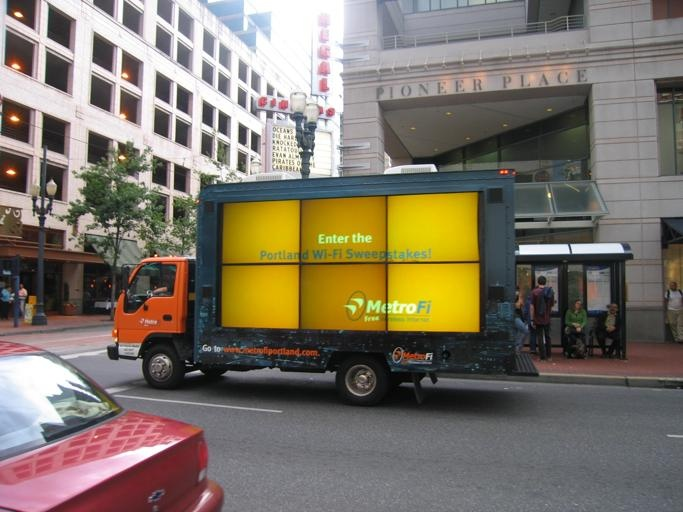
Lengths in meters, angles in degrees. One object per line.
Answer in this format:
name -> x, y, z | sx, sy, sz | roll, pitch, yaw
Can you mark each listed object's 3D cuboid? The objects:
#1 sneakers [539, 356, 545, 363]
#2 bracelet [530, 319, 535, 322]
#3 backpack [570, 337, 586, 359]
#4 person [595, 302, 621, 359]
sneakers -> 5.238, 2.685, 16.298 | 0.125, 0.130, 0.072 | -2, -16, 25
bracelet -> 4.994, 1.688, 16.376 | 0.084, 0.068, 0.122 | 2, -7, 9
backpack -> 6.367, 2.467, 16.819 | 0.454, 0.660, 0.428 | -1, 5, -10
person -> 7.231, 1.989, 16.876 | 0.649, 1.425, 0.477 | 3, 5, 27
